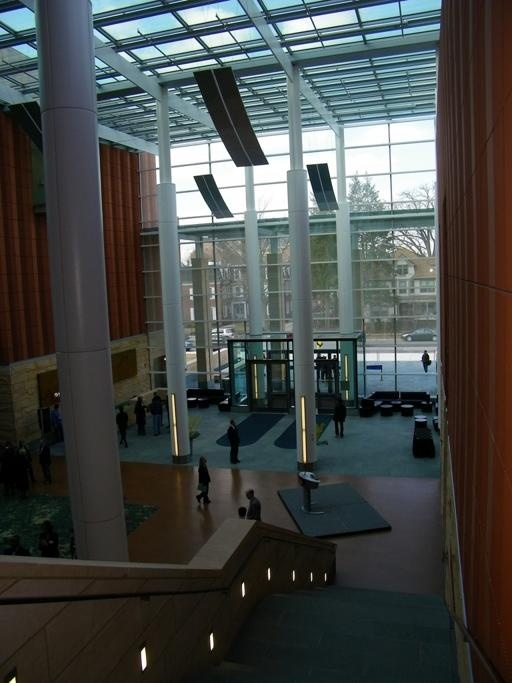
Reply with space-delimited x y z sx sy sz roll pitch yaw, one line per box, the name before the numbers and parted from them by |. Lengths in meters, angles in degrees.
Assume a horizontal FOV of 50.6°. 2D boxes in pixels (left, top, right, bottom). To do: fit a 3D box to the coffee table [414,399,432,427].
coffee table | 6.653 2.886 21.596 0.654 0.796 3.194 0 7 16
